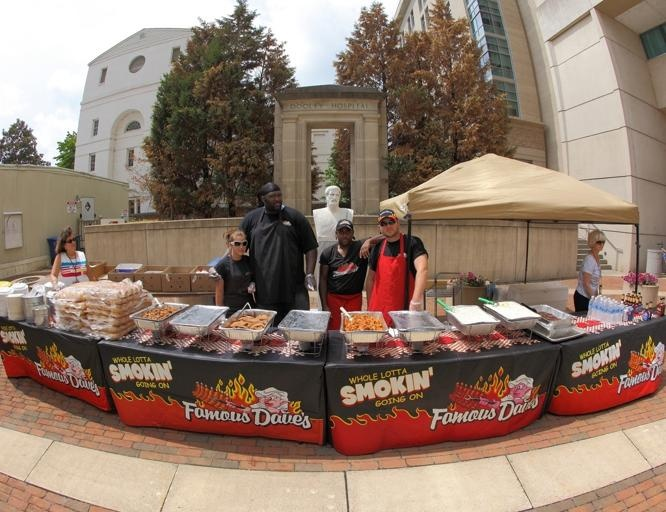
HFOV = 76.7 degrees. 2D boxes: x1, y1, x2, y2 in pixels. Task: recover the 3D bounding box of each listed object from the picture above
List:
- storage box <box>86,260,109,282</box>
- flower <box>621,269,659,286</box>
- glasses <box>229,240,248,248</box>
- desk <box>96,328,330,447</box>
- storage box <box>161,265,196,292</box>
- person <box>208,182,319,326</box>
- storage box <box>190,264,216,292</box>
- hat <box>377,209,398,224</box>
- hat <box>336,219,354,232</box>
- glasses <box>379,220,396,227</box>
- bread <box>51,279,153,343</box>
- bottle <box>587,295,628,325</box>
[{"bbox_3d":[-5.678,0.354,10.099,0.474,0.300,0.470,0,6,-8],"label":"storage box"},{"bbox_3d":[8.065,0.564,11.020,0.740,0.453,0.755,1,-2,-6],"label":"flower"},{"bbox_3d":[-1.300,-0.169,5.783,0.221,0.090,0.135,-2,10,-12],"label":"glasses"},{"bbox_3d":[-1.308,1.234,4.959,1.555,0.677,1.694,1,2,20],"label":"desk"},{"bbox_3d":[-3.572,0.546,9.699,0.601,0.389,0.617,0,9,-4],"label":"storage box"},{"bbox_3d":[-0.869,0.321,6.065,1.261,2.588,0.886,0,15,5],"label":"person"},{"bbox_3d":[-2.796,0.490,8.987,0.572,0.364,0.565,0,7,-9],"label":"storage box"},{"bbox_3d":[0.731,-0.526,5.756,0.250,0.193,0.415,-5,-6,4],"label":"hat"},{"bbox_3d":[0.182,-0.447,6.056,0.240,0.151,0.357,3,11,14],"label":"hat"},{"bbox_3d":[0.735,-0.444,5.657,0.192,0.075,0.064,1,10,4],"label":"glasses"},{"bbox_3d":[-2.946,0.662,5.278,0.723,0.400,0.997,2,2,-7],"label":"bread"},{"bbox_3d":[3.688,0.670,5.605,0.347,0.372,0.367,7,-1,-4],"label":"bottle"}]
